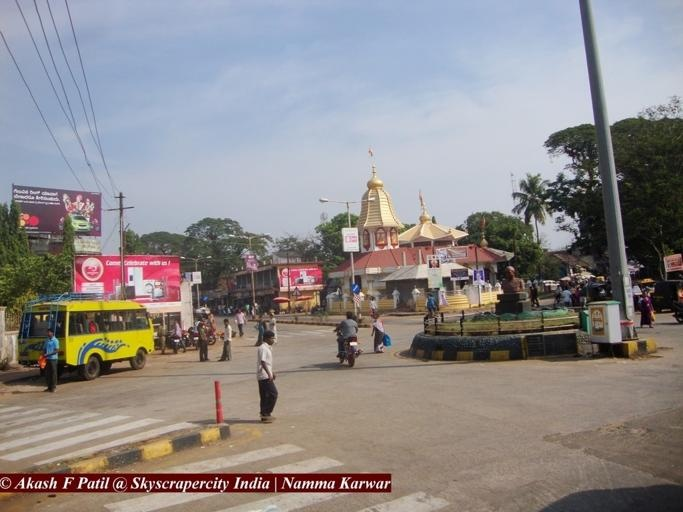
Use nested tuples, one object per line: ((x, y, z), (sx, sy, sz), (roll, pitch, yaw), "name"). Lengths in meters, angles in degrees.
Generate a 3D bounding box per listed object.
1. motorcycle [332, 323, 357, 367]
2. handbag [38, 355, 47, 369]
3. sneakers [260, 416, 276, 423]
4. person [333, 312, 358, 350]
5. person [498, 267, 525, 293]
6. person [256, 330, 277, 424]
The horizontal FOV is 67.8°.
((0.210, 3.108, 18.343), (0.794, 1.650, 1.255), (-5, -5, -2), "motorcycle")
((-10.172, 3.667, 17.261), (0.365, 0.498, 0.257), (8, 9, 44), "handbag")
((-1.516, 3.328, 10.373), (0.299, 0.119, 0.106), (-1, 5, -3), "sneakers")
((0.167, 2.754, 18.716), (0.895, 0.864, 1.491), (-1, -1, -1), "person")
((6.927, 0.951, 20.759), (0.756, 1.141, 2.236), (-6, -5, 17), "person")
((-1.598, 2.518, 10.895), (0.430, 1.804, 1.059), (-4, -5, -10), "person")
